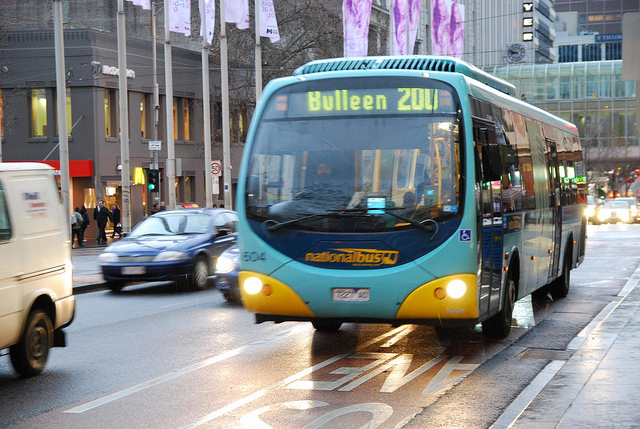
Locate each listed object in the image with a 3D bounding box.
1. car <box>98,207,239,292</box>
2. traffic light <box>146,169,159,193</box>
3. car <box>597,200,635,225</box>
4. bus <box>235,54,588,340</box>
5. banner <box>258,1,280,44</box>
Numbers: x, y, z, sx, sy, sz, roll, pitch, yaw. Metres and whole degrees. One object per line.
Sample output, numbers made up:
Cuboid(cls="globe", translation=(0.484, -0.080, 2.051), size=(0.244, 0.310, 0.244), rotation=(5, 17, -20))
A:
Cuboid(cls="car", translation=(-4.319, 1.080, 15.119), size=(3.821, 2.229, 1.968), rotation=(-4, 5, -25))
Cuboid(cls="traffic light", translation=(-8.195, -1.654, 25.628), size=(0.527, 1.068, 0.671), rotation=(-4, 5, -19))
Cuboid(cls="car", translation=(29.515, -0.139, 51.674), size=(4.069, 2.127, 2.143), rotation=(-4, 5, -26))
Cuboid(cls="bus", translation=(2.115, -0.258, 8.780), size=(2.614, 4.621, 6.729), rotation=(1, 5, 39))
Cuboid(cls="banner", translation=(-3.189, -11.953, 31.929), size=(1.123, 2.319, 0.961), rotation=(-3, 5, -6))
